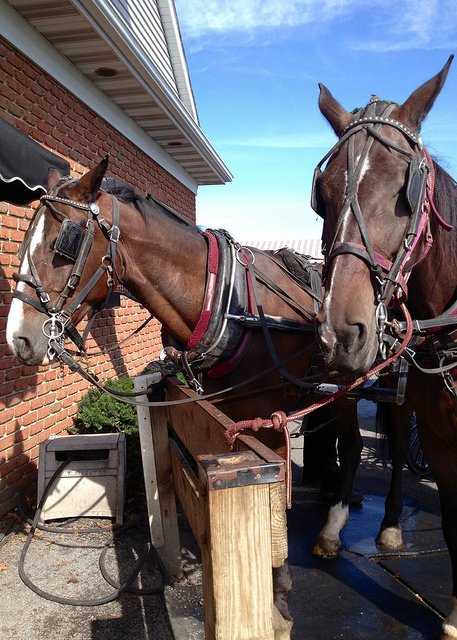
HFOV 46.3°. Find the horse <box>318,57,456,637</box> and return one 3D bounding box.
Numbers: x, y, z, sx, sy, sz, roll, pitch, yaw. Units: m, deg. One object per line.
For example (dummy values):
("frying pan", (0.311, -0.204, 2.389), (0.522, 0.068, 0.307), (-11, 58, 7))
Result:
("horse", (0.583, 0.186, 1.993), (0.585, 2.011, 0.673), (4, 14, 12))
